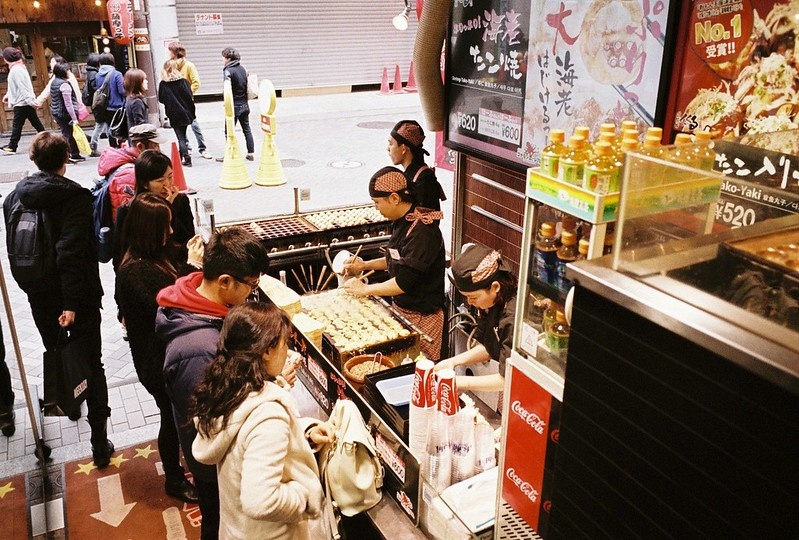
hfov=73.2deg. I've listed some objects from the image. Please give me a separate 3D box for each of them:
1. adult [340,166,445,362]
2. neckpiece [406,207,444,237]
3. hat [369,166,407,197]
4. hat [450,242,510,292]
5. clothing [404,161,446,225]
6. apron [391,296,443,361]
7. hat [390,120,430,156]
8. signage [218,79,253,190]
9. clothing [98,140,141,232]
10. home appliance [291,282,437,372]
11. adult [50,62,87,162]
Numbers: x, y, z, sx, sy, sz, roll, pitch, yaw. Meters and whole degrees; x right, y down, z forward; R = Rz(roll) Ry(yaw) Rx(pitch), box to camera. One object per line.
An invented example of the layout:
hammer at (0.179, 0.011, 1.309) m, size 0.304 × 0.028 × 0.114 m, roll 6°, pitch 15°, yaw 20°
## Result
adult at (-0.050, -0.017, 4.592) m, size 0.844 × 2.309 × 0.905 m, roll -3°, pitch 30°, yaw -4°
neckpiece at (0.202, -0.405, 4.482) m, size 0.242 × 0.236 × 0.109 m, roll -26°, pitch -19°, yaw -1°
hat at (-0.095, -0.712, 4.339) m, size 0.261 × 0.168 × 0.261 m, roll 22°, pitch 36°, yaw 36°
hat at (0.512, -0.031, 3.414) m, size 0.362 × 0.203 × 0.290 m, roll -18°, pitch 41°, yaw 0°
clothing at (0.243, -0.901, 5.736) m, size 0.349 × 0.637 × 0.442 m, roll 0°, pitch -22°, yaw 12°
apron at (0.176, 0.536, 4.388) m, size 0.417 × 0.590 × 0.391 m, roll -4°, pitch 26°, yaw -8°
hat at (0.126, -1.369, 5.667) m, size 0.402 × 0.208 × 0.270 m, roll 28°, pitch 14°, yaw -33°
signage at (-2.802, -2.114, 8.830) m, size 0.530 × 1.838 × 0.849 m, roll -9°, pitch 24°, yaw -17°
clothing at (-2.554, -0.741, 4.901) m, size 0.432 × 0.699 × 0.750 m, roll -7°, pitch 34°, yaw -22°
home appliance at (-0.303, 0.412, 4.035) m, size 0.466 × 0.199 × 0.843 m, roll -8°, pitch 26°, yaw -25°
adult at (-7.196, -3.360, 11.651) m, size 0.797 × 2.055 × 0.503 m, roll 31°, pitch 36°, yaw 34°
